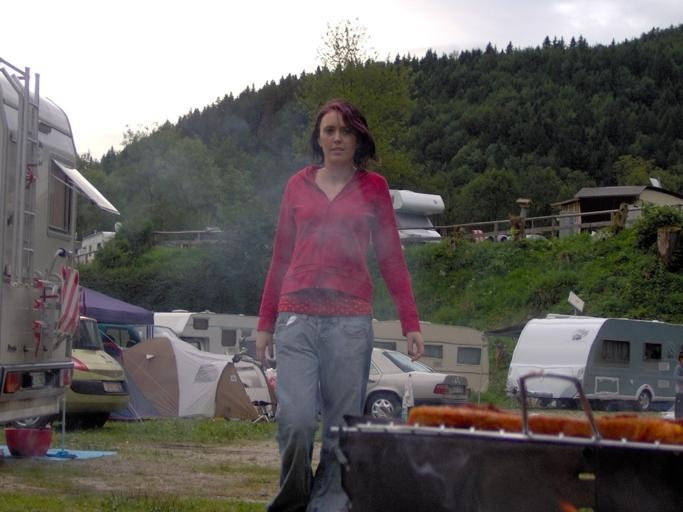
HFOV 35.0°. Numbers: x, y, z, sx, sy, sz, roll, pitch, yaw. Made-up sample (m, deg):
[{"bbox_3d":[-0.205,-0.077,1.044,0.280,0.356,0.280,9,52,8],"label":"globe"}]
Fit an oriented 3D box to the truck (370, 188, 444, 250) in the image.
[{"bbox_3d":[2.429,-1.483,40.447,2.310,2.628,2.600,3,3,45],"label":"truck"}]
